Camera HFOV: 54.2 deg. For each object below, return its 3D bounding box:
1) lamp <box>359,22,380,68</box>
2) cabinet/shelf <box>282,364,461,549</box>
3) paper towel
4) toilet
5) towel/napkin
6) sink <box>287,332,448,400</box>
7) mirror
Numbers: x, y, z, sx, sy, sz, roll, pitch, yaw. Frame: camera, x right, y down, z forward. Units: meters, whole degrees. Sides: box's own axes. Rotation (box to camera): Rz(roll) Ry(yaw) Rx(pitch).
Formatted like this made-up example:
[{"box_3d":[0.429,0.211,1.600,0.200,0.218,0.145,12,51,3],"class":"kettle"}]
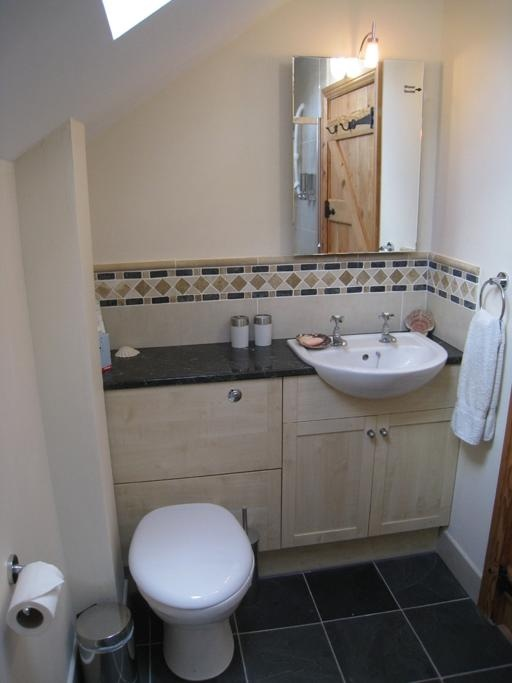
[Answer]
[{"box_3d":[0.433,-1.148,1.910,0.037,0.140,0.060,-20,42,-25],"class":"lamp"},{"box_3d":[0.440,0.429,1.978,0.479,0.655,0.227,-4,14,-11],"class":"cabinet/shelf"},{"box_3d":[-0.449,0.519,1.020,0.094,0.121,0.126,-4,13,-16],"class":"paper towel"},{"box_3d":[-0.210,0.843,1.690,0.300,0.452,0.539,-6,24,-12],"class":"toilet"},{"box_3d":[0.818,0.135,1.827,0.071,0.490,0.168,-4,12,-16],"class":"towel/napkin"},{"box_3d":[0.459,0.105,1.978,0.594,0.167,0.512,-6,15,-19],"class":"sink"},{"box_3d":[0.402,-0.792,2.044,0.478,1.292,0.122,-3,14,-11],"class":"mirror"}]
